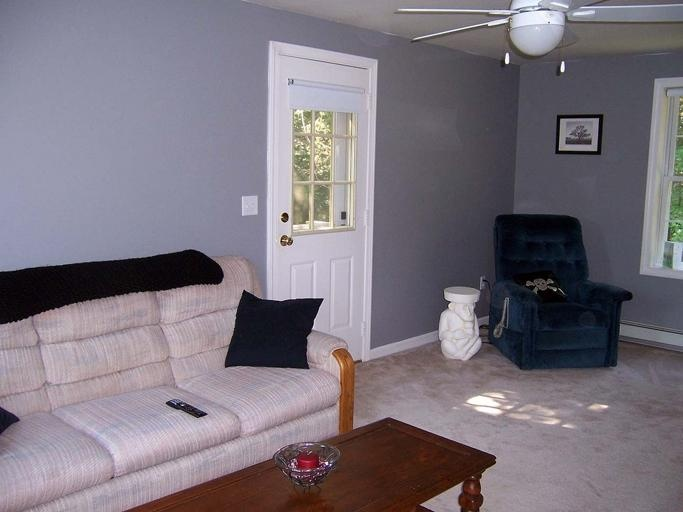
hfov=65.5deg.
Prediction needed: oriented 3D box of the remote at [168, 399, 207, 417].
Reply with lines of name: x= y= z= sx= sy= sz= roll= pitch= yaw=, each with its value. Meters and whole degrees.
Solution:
remote: x=-0.810 y=0.802 z=2.775 sx=0.187 sy=0.025 sz=0.085 roll=14 pitch=10 yaw=37

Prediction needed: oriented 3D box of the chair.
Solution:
chair: x=1.943 y=0.305 z=4.962 sx=1.012 sy=1.244 sz=0.991 roll=0 pitch=12 yaw=-4

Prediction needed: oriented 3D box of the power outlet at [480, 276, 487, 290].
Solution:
power outlet: x=1.562 y=0.300 z=5.856 sx=0.012 sy=0.134 sz=0.159 roll=-2 pitch=0 yaw=34

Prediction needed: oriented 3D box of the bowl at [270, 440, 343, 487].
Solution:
bowl: x=-0.144 y=0.866 z=2.229 sx=0.265 sy=0.136 sz=0.252 roll=1 pitch=11 yaw=0

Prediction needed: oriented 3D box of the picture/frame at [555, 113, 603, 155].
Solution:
picture/frame: x=2.565 y=-1.300 z=5.677 sx=0.449 sy=0.423 sz=0.033 roll=9 pitch=10 yaw=41
